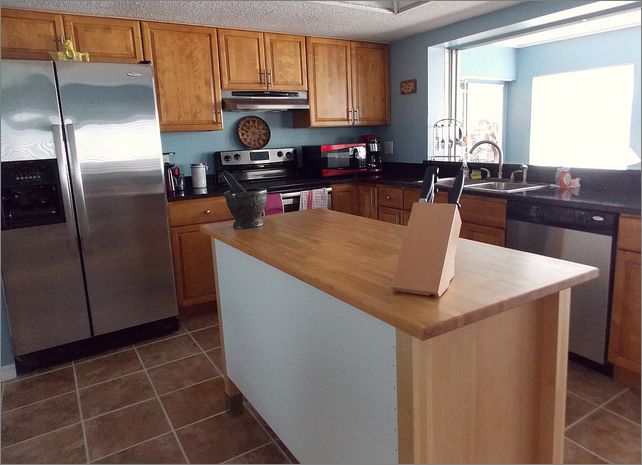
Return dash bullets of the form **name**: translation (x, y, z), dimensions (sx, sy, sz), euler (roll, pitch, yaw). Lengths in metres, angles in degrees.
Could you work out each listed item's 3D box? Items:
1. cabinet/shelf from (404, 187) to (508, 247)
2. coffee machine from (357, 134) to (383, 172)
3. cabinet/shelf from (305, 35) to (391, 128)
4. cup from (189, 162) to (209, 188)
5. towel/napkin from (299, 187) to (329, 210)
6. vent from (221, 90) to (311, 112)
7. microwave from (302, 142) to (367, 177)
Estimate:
- **cabinet/shelf**: translation (1.067, -0.162, 3.751), dimensions (0.148, 0.416, 1.071), euler (-10, 20, -28)
- **coffee machine**: translation (0.561, -0.874, 4.830), dimensions (0.331, 0.478, 0.275), euler (5, 10, 44)
- **cabinet/shelf**: translation (0.252, -1.610, 4.881), dimensions (0.993, 0.865, 0.350), euler (-10, 14, -29)
- **cup**: translation (-1.121, -0.530, 4.149), dimensions (0.130, 0.216, 0.204), euler (-6, 18, -16)
- **towel/napkin**: translation (-0.080, -0.327, 4.250), dimensions (0.263, 0.174, 0.047), euler (-7, 11, -29)
- **vent**: translation (-0.508, -1.285, 4.328), dimensions (0.879, 0.195, 0.229), euler (-15, 22, -38)
- **microwave**: translation (0.090, -0.784, 4.758), dimensions (0.542, 0.278, 0.389), euler (-7, 13, -31)
